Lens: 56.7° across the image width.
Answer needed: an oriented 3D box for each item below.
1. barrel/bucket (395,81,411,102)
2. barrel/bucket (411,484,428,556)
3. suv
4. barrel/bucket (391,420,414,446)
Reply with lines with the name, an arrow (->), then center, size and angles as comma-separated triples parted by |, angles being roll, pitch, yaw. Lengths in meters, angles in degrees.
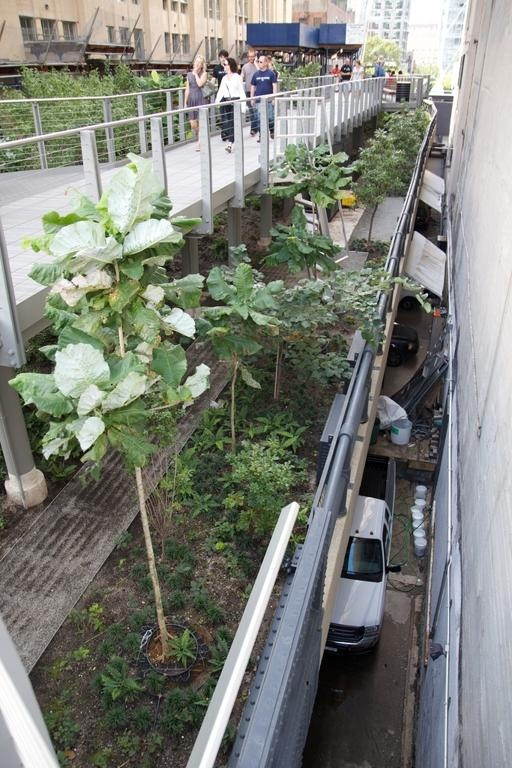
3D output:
barrel/bucket -> 12.488, -24.933, 40.496 | 1.157, 1.291, 1.942 | 20, 37, 39
barrel/bucket -> 3.413, 2.794, 9.964 | 0.305, 0.368, 1.549 | 1, 46, 14
suv -> 1.831, 3.282, 8.127 | 1.088, 1.051, 2.518 | 6, 41, 13
barrel/bucket -> 3.338, 1.151, 11.151 | 0.485, 0.591, 0.540 | -1, 35, 3
